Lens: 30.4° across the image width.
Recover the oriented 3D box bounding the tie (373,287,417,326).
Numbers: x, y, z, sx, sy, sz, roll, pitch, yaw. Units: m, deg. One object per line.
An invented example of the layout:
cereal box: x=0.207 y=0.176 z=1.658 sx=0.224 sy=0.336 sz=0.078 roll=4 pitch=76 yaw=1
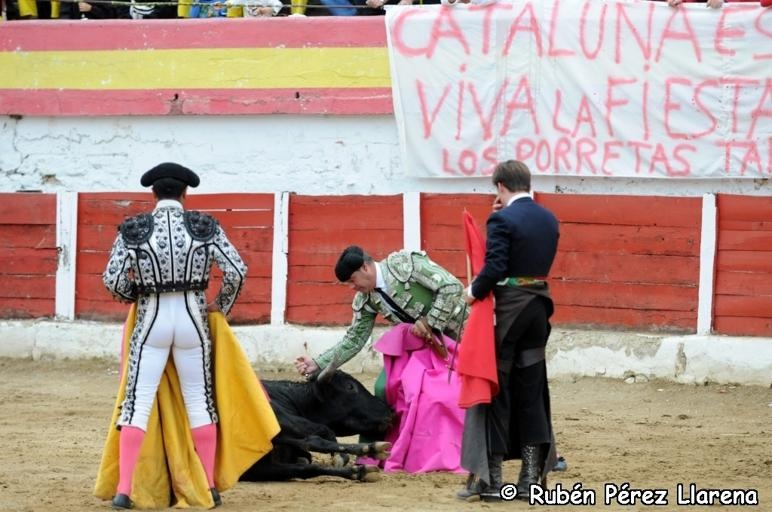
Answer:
tie: x=0.085 y=0.417 z=11.680 sx=0.341 sy=0.081 sz=0.243 roll=42 pitch=-5 yaw=-9

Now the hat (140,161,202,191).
hat: x=-1.753 y=-0.660 z=11.741 sx=0.520 sy=0.155 sz=0.494 roll=0 pitch=-3 yaw=-6

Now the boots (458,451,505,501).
boots: x=0.742 y=1.739 z=11.096 sx=0.459 sy=0.404 sz=0.226 roll=8 pitch=-1 yaw=15

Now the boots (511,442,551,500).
boots: x=1.089 y=1.653 z=11.125 sx=0.189 sy=0.437 sz=0.474 roll=14 pitch=23 yaw=6

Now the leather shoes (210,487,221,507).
leather shoes: x=-1.311 y=1.861 z=10.997 sx=0.062 sy=0.068 sz=0.159 roll=0 pitch=20 yaw=-10

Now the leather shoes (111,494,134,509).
leather shoes: x=-2.007 y=1.867 z=10.865 sx=0.160 sy=0.107 sz=0.162 roll=1 pitch=-1 yaw=-11

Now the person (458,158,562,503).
person: x=0.969 y=0.570 z=11.055 sx=0.686 sy=2.048 sz=0.262 roll=1 pitch=0 yaw=-17
